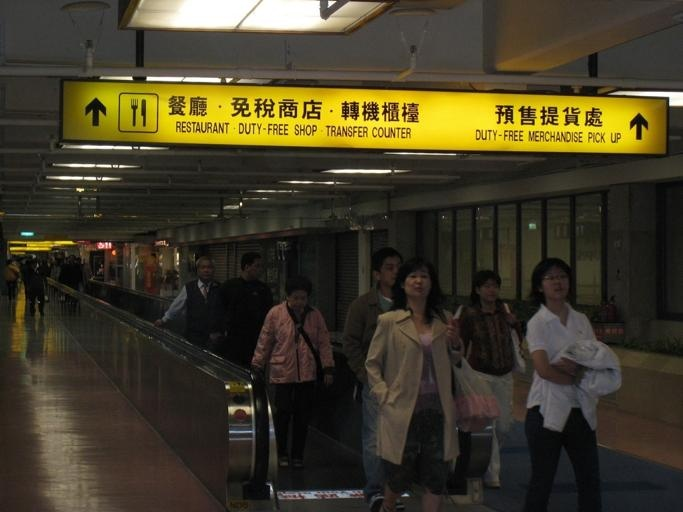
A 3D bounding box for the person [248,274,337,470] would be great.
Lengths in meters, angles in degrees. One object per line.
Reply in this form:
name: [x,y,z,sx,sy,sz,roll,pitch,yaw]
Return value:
person: [-0.481,1.142,6.716,0.752,1.894,0.444,0,-1,-8]
